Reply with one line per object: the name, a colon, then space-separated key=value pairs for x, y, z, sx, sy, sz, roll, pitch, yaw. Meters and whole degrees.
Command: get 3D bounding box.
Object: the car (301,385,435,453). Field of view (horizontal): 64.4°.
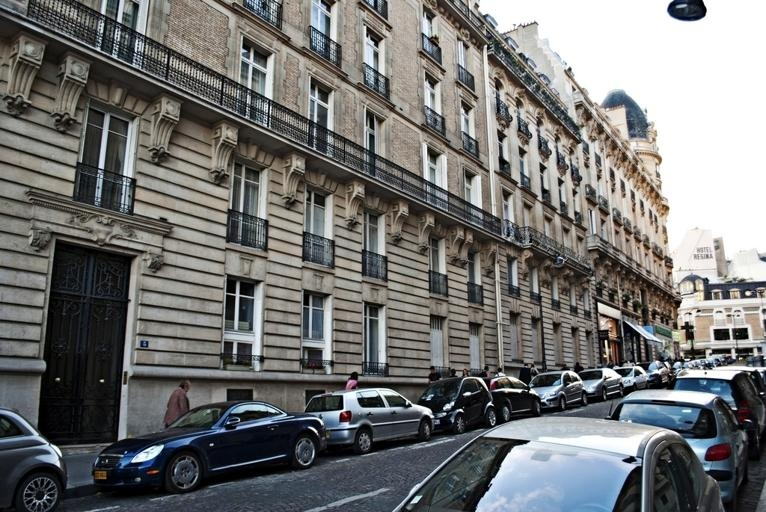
car: x=-0.410 y=5.045 z=19.155 sx=1.783 sy=1.447 sz=3.559 roll=-10 pitch=-11 yaw=41
